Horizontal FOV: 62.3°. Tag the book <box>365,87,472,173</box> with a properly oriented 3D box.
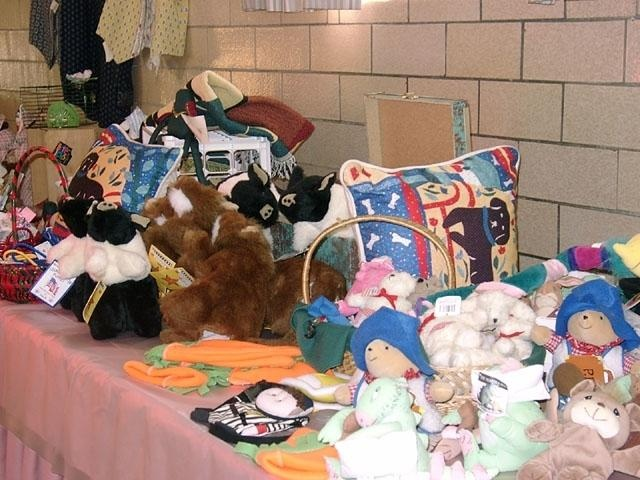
[{"bbox_3d":[0.419,-0.461,2.250,0.079,0.369,0.487,-27,34,-30],"label":"book"}]

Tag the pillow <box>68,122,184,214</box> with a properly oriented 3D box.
[{"bbox_3d":[-0.685,-0.244,1.998,0.350,0.356,0.106,23,-22,31],"label":"pillow"}]

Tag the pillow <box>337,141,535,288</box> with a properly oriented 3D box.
[{"bbox_3d":[0.427,-0.031,1.675,0.480,0.498,0.175,-9,11,-4],"label":"pillow"}]
